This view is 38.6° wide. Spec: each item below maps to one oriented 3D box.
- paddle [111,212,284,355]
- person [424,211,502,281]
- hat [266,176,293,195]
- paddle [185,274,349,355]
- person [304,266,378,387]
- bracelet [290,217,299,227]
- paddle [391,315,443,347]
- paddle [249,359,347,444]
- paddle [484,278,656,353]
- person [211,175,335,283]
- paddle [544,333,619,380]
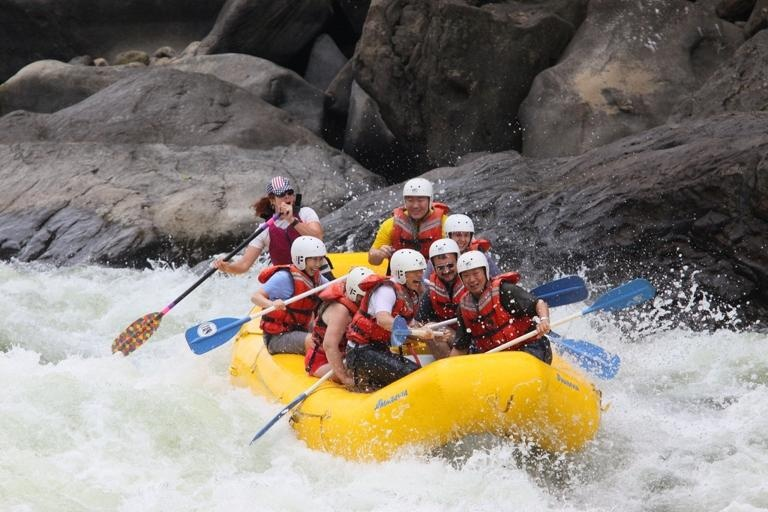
[{"bbox_3d":[-2.681,0.424,15.395,3.108,0.151,0.452,-38,104,-8],"label":"paddle"},{"bbox_3d":[1.159,-0.174,13.929,0.695,0.410,0.887,-6,97,22],"label":"person"},{"bbox_3d":[-1.386,-0.903,14.328,0.251,0.365,0.190,-25,104,-22],"label":"hat"},{"bbox_3d":[-1.446,0.756,13.861,2.364,0.100,0.401,-22,76,-2],"label":"paddle"},{"bbox_3d":[-0.386,0.853,13.255,0.875,0.858,1.390,12,107,12],"label":"person"},{"bbox_3d":[-1.141,-0.448,14.166,0.088,0.118,0.062,4,124,-4],"label":"bracelet"},{"bbox_3d":[0.386,0.847,12.781,0.542,0.270,0.342,-1,122,2],"label":"paddle"},{"bbox_3d":[-0.976,1.739,13.027,1.354,0.066,0.187,-42,108,-1],"label":"paddle"},{"bbox_3d":[2.313,0.738,13.489,2.291,0.095,0.301,-23,94,8],"label":"paddle"},{"bbox_3d":[-1.628,-0.347,15.366,1.080,0.846,1.628,-16,51,-20],"label":"person"},{"bbox_3d":[2.274,1.139,13.402,0.207,1.938,0.466,-28,101,-7],"label":"paddle"}]
